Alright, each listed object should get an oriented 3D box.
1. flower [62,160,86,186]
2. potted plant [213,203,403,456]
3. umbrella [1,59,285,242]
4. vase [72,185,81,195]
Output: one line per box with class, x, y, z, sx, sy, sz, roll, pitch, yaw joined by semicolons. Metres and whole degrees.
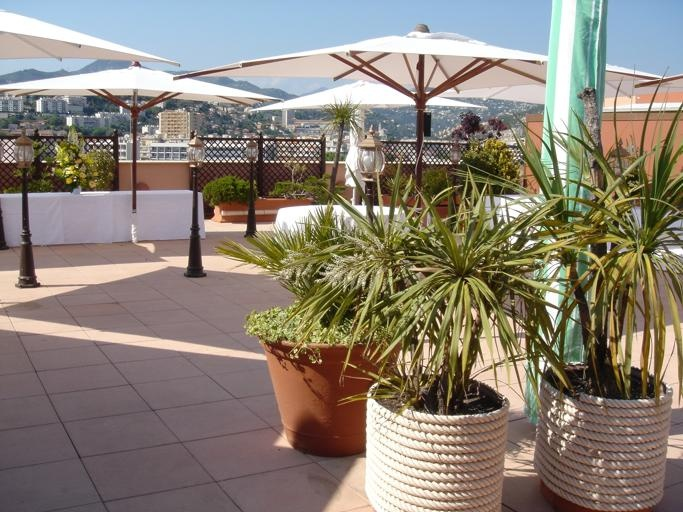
flower;-4.415;-1.388;9.521;0.341;0.440;0.377;2;15;0
potted plant;-0.098;0.434;3.538;1.001;1.459;0.783;-8;10;-34
umbrella;-3.652;-2.818;11.035;3.704;3.056;3.699;1;9;-2
vase;-4.473;-1.115;9.589;0.127;0.163;0.136;0;-6;-22
